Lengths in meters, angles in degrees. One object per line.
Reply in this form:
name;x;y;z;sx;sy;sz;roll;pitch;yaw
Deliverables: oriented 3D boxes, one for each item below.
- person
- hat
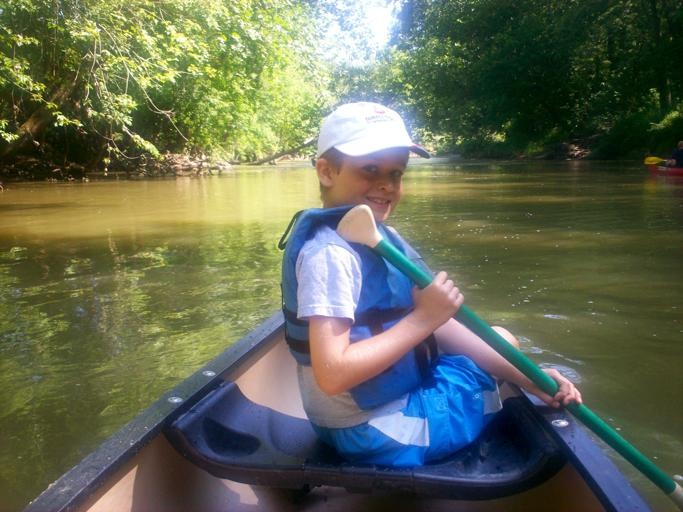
person;0.321;0.099;1.759;1.133;1.167;0.760;-5;3;-31
hat;0.062;-0.417;1.591;0.151;0.107;0.202;20;29;37
